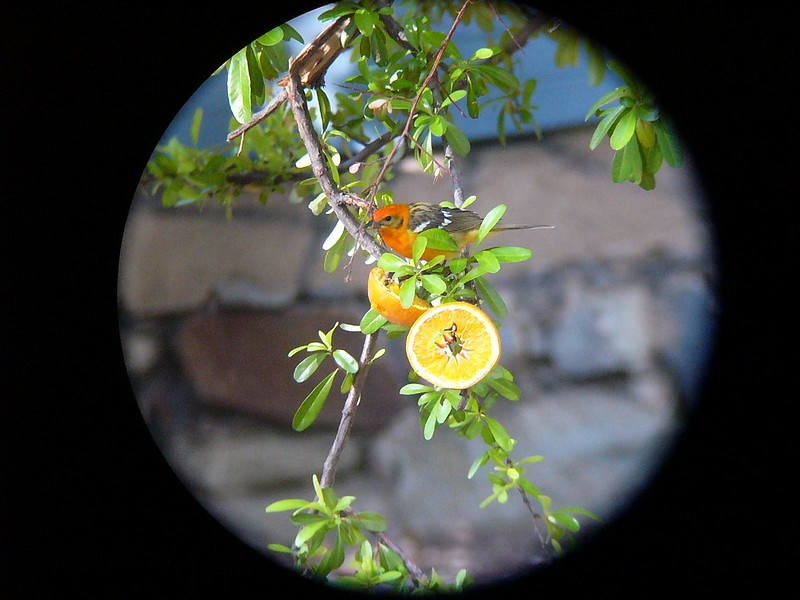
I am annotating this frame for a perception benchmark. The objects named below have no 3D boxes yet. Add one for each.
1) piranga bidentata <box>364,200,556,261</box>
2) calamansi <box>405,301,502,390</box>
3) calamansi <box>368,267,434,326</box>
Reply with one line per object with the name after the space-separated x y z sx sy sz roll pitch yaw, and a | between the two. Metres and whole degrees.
0.154 -0.228 2.836 0.672 0.388 0.214 -5 104 -21 | piranga bidentata
0.156 0.134 2.662 0.267 0.109 0.248 -25 85 0 | calamansi
-0.006 0.014 2.727 0.197 0.203 0.103 22 103 -5 | calamansi
